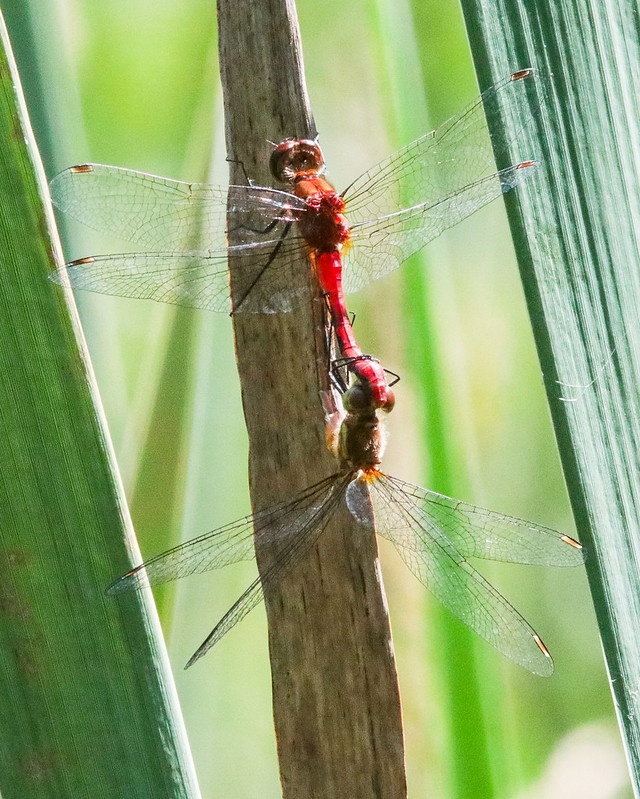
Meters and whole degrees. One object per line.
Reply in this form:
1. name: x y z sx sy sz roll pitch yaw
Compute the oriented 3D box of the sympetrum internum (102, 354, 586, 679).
1. sympetrum internum: 0.072 0.163 1.265 0.522 0.140 0.384 1 66 1
